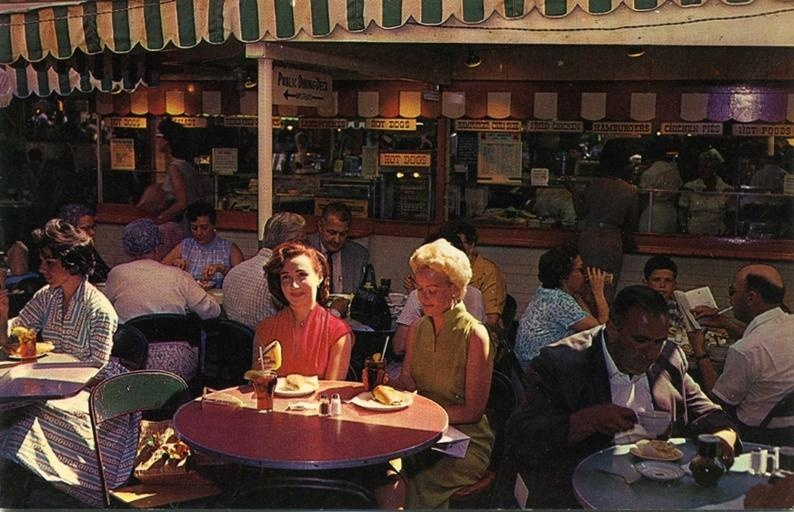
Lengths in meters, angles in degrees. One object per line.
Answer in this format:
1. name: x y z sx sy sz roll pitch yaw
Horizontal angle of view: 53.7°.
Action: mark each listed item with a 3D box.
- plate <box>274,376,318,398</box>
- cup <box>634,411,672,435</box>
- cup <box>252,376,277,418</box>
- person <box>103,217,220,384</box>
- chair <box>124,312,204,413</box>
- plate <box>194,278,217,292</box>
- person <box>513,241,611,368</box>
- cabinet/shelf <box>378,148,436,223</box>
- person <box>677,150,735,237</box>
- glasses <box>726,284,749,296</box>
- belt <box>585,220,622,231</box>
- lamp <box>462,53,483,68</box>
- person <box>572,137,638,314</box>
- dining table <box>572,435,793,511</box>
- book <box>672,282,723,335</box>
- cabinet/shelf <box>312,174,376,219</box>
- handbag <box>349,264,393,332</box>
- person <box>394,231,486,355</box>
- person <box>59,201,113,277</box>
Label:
1. plate: -0.764 0.983 5.900 0.195 0.057 0.197 3 9 17
2. cup: 1.890 1.196 5.775 0.206 0.140 0.175 2 2 43
3. cup: -0.957 0.997 5.736 0.259 0.249 0.253 -1 -15 0
4. person: -2.320 0.429 7.371 1.176 1.473 0.865 3 11 0
5. chair: -1.984 0.907 6.981 0.805 1.028 0.758 1 18 -16
6. plate: -1.971 0.298 8.171 0.153 0.052 0.162 5 7 29
7. person: 1.451 0.690 7.104 0.779 1.489 0.642 4 11 1
8. cabinet/shelf: 0.171 -1.001 11.264 0.812 1.001 0.592 5 11 18
9. person: 3.871 -0.797 9.897 0.585 1.076 0.668 2 5 19
10. glasses: 3.039 0.297 6.995 0.227 0.068 0.230 1 11 -22
11. belt: 2.584 -0.383 9.838 0.416 0.110 0.094 2 5 12
12. lamp: 1.012 -2.607 10.442 0.232 0.224 0.686 1 5 5
13. person: 2.777 -0.331 10.200 0.706 2.447 0.713 14 34 30
14. dining table: 1.771 1.444 5.184 1.255 0.279 0.589 1 5 -6
15. book: 2.678 0.465 6.968 0.381 0.378 0.136 -16 -7 -6
16. cabinet/shelf: -0.797 -0.869 11.421 0.924 0.588 0.554 3 19 -7
17. handbag: -0.262 0.360 7.555 0.223 0.599 0.700 -2 3 -22
18. person: 0.400 0.320 6.621 0.813 0.616 1.820 -13 -19 4
19. person: -3.231 -0.167 8.217 0.545 0.887 0.755 -4 15 -12
